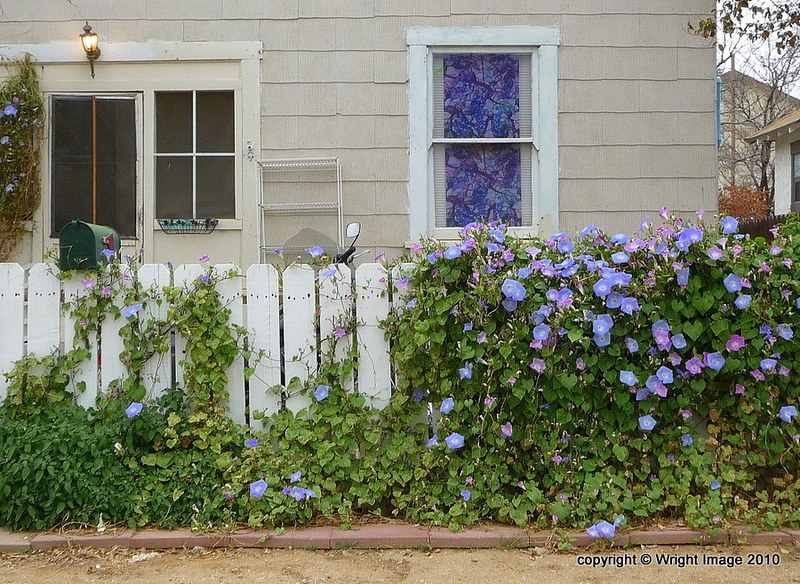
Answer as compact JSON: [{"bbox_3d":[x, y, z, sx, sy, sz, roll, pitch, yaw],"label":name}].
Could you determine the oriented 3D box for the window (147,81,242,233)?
[{"bbox_3d":[-1.882,-1.269,10.284,0.763,1.295,0.039,-1,-10,-7],"label":"window"}]

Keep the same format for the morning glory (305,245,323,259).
[{"bbox_3d":[-0.649,-0.333,8.386,0.119,0.063,0.116,-4,-14,28],"label":"morning glory"}]

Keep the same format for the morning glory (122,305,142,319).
[{"bbox_3d":[-1.988,0.132,8.301,0.153,0.112,0.112,-5,16,-12],"label":"morning glory"}]

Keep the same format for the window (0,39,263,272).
[{"bbox_3d":[-2.441,-1.257,10.042,1.795,1.738,0.165,1,3,4],"label":"window"}]

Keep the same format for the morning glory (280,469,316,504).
[{"bbox_3d":[-0.722,1.409,8.047,0.189,0.092,0.215,-15,38,-22],"label":"morning glory"}]

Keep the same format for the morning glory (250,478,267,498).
[{"bbox_3d":[-1.012,1.407,8.055,0.132,0.117,0.076,-4,15,-11],"label":"morning glory"}]

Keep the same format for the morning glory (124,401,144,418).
[{"bbox_3d":[-1.934,0.846,8.158,0.119,0.097,0.134,-1,16,0],"label":"morning glory"}]

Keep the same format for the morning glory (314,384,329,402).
[{"bbox_3d":[-0.574,0.736,8.231,0.111,0.130,0.084,-3,15,-8],"label":"morning glory"}]

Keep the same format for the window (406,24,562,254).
[{"bbox_3d":[0.744,-1.430,10.024,1.792,2.734,0.285,0,0,-1],"label":"window"}]

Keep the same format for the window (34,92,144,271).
[{"bbox_3d":[-2.808,-1.117,10.312,0.833,1.453,0.056,-4,29,-22],"label":"window"}]
